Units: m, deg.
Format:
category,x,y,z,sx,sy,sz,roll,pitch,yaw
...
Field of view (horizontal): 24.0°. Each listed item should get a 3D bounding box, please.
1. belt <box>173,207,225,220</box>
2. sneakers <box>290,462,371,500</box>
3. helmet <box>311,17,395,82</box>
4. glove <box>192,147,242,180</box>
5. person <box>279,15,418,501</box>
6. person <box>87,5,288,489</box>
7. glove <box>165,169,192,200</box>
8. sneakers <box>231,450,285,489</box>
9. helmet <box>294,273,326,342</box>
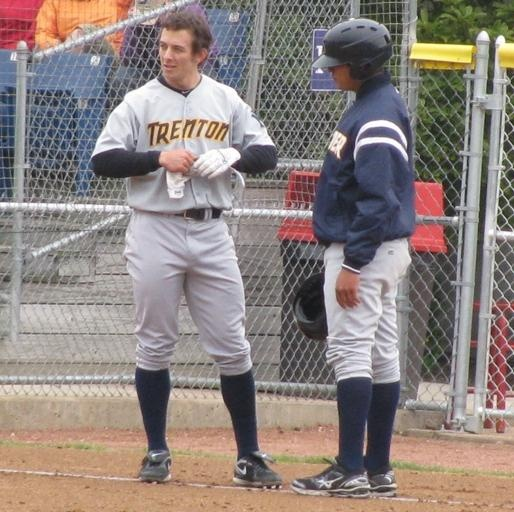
category,x,y,z,sx,sy,sz,roll,pitch,yaw
belt,-0.292,-0.217,6.214,0.264,0.066,0.049,-3,8,-29
sneakers,0.374,1.123,6.069,0.386,0.192,0.155,2,-7,6
helmet,0.497,-1.045,6.070,0.339,0.248,0.252,-9,18,2
glove,-0.190,-0.475,6.147,0.111,0.139,0.317,7,9,39
person,0.524,0.001,6.085,0.519,2.380,0.527,2,7,8
person,-0.370,-0.043,6.250,0.928,2.437,0.554,0,7,-5
glove,-0.401,-0.357,6.110,0.117,0.140,0.109,0,7,-4
sneakers,-0.007,1.111,6.264,0.114,0.159,0.304,5,-9,-45
helmet,0.292,0.272,6.440,0.240,0.317,0.169,-1,-13,19
